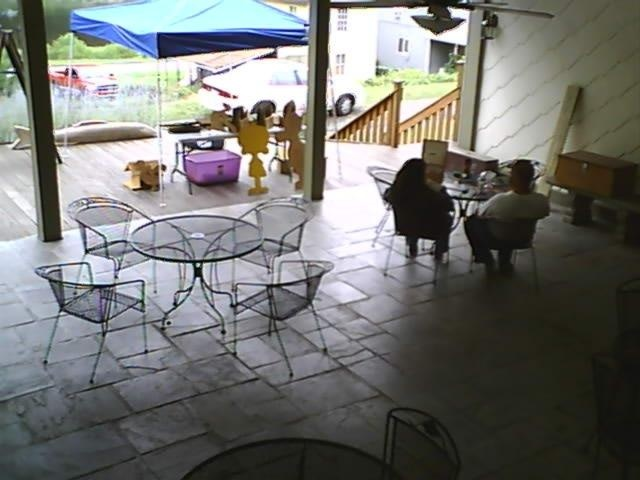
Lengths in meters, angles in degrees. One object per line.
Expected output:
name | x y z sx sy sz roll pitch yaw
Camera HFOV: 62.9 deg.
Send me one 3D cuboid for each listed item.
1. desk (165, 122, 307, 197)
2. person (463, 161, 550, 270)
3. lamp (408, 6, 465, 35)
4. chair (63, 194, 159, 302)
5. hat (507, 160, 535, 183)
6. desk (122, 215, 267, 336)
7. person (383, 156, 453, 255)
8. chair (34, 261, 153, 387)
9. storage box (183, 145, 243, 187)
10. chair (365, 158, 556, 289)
desk | -1.508 -1.569 8.555 1.752 0.760 1.549 -5 32 -14
person | 2.162 -0.236 6.113 0.831 1.429 0.725 -3 28 -8
lamp | 0.922 -1.688 4.036 0.370 0.185 0.339 -7 19 -24
chair | -2.279 0.104 5.603 0.901 1.017 0.838 19 30 23
hat | 2.164 -0.745 5.565 0.251 0.216 0.176 6 19 15
desk | -1.245 0.407 5.514 1.372 0.825 1.214 10 32 8
person | 1.149 -0.318 6.010 0.837 1.174 0.733 -3 10 13
chair | -2.076 0.535 4.763 0.881 0.937 1.468 -5 18 -18
storage box | -1.779 -1.227 8.666 0.899 0.356 0.613 -12 25 -35
chair | 1.698 -0.167 6.130 1.991 1.311 0.671 2 43 10
